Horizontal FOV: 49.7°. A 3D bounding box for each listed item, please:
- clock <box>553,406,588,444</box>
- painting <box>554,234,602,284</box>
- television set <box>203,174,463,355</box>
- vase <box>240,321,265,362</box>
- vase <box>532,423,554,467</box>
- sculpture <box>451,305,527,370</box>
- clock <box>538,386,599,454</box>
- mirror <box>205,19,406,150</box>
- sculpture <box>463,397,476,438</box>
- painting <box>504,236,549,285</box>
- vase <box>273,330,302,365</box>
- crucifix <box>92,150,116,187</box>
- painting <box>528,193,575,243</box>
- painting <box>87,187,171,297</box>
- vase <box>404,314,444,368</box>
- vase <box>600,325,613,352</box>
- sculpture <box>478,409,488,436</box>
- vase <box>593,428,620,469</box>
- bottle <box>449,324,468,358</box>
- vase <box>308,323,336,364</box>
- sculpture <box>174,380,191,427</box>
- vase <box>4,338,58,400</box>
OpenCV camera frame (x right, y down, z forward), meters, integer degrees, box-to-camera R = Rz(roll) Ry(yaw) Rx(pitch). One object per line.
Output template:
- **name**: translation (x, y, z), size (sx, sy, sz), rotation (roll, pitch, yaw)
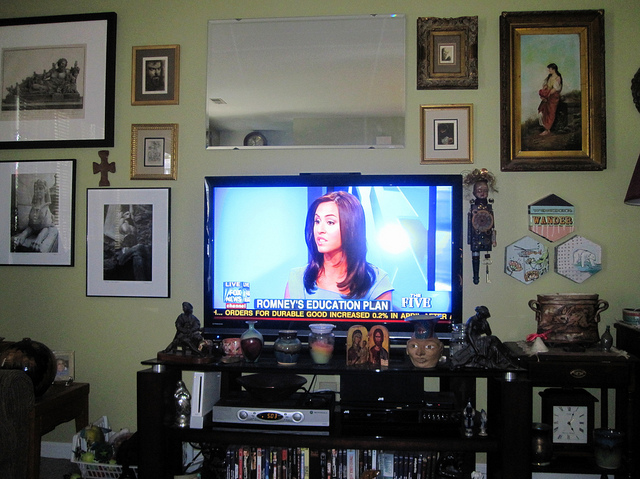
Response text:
- **clock**: translation (1.678, 1.230, 4.618), size (0.234, 0.254, 0.026), rotation (-1, 2, 3)
- **painting**: translation (1.864, 0.132, 4.956), size (0.307, 0.374, 0.039), rotation (-2, 18, 15)
- **television set**: translation (0.166, 0.186, 4.803), size (1.752, 1.232, 0.105), rotation (0, -1, 6)
- **vase**: translation (-0.452, 0.689, 4.617), size (0.215, 0.355, 0.218), rotation (-1, -9, 2)
- **vase**: translation (1.456, 1.361, 4.557), size (0.221, 0.228, 0.229), rotation (-6, -7, 16)
- **sculpture**: translation (1.100, 0.643, 4.521), size (0.458, 0.405, 0.187), rotation (-4, -9, 28)
- **clock**: translation (1.651, 1.184, 4.720), size (0.408, 0.515, 0.424), rotation (0, -5, 7)
- **mirror**: translation (-0.125, -1.159, 5.142), size (1.431, 0.972, 0.037), rotation (1, 0, 8)
- **sculpture**: translation (0.952, 1.153, 4.450), size (0.063, 0.221, 0.077), rotation (1, -1, 10)
- **painting**: translation (1.489, 0.145, 4.980), size (0.314, 0.333, 0.057), rotation (2, -1, -5)
- **vase**: translation (-0.229, 0.729, 4.625), size (0.175, 0.203, 0.176), rotation (-7, -7, 15)
- **crucifix**: translation (-1.638, -0.546, 5.226), size (0.169, 0.245, 0.030), rotation (1, -1, 14)
- **painting**: translation (1.673, -0.155, 4.968), size (0.329, 0.421, 0.043), rotation (0, -3, 5)
- **painting**: translation (-1.437, 0.014, 5.171), size (0.642, 0.700, 0.013), rotation (2, -1, 6)
- **vase**: translation (0.677, 0.687, 4.562), size (0.289, 0.396, 0.294), rotation (-4, -21, 15)
- **vase**: translation (1.934, 0.665, 4.680), size (0.067, 0.164, 0.143), rotation (1, -1, 19)
- **sculpture**: translation (1.068, 1.184, 4.535), size (0.059, 0.149, 0.206), rotation (1, 0, 13)
- **vase**: translation (1.878, 1.379, 4.530), size (0.191, 0.233, 0.204), rotation (0, -7, 1)
- **bottle**: translation (0.908, 0.662, 4.549), size (0.109, 0.204, 0.081), rotation (1, -1, 2)
- **vase**: translation (0.004, 0.681, 4.572), size (0.212, 0.284, 0.220), rotation (0, -6, 3)
- **sculpture**: translation (-0.909, 1.074, 4.574), size (0.123, 0.298, 0.120), rotation (-2, 4, -18)
- **vase**: translation (-1.987, 0.886, 4.729), size (0.328, 0.394, 0.137), rotation (2, -1, -26)
